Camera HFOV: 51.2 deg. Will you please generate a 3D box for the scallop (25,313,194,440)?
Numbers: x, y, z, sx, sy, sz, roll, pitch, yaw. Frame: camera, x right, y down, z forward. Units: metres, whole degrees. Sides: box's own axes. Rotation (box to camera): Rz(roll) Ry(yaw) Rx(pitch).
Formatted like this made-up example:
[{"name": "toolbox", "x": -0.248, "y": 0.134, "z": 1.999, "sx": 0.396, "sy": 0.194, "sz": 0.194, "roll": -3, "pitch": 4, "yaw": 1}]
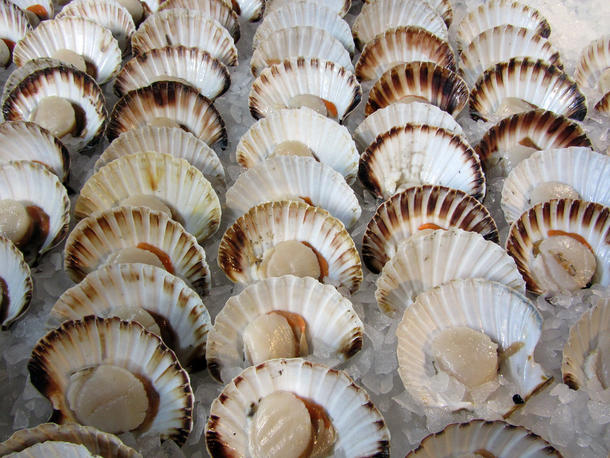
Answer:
[{"name": "scallop", "x": -0.640, "y": 0.492, "z": 2.108, "sx": 0.576, "sy": 0.369, "sz": 0.108, "roll": 17, "pitch": -22, "yaw": 0}]
